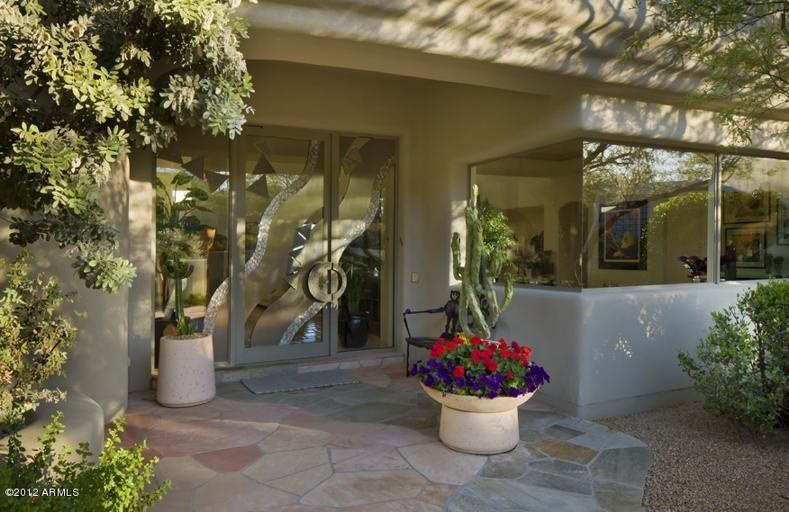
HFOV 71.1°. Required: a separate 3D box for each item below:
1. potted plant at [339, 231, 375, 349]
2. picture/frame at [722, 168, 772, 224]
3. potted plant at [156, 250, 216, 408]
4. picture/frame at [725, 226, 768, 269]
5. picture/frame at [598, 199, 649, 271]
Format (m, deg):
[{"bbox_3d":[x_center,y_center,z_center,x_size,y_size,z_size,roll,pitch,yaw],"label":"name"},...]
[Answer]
[{"bbox_3d":[-0.533,0.487,7.688,0.540,1.553,0.255,-3,9,-20],"label":"potted plant"},{"bbox_3d":[4.182,-0.715,6.594,0.635,0.681,0.030,1,2,-18],"label":"picture/frame"},{"bbox_3d":[-2.372,0.789,6.100,0.592,1.523,0.860,-5,10,-32],"label":"potted plant"},{"bbox_3d":[4.225,-0.095,6.646,0.027,0.486,0.471,3,-2,-33],"label":"picture/frame"},{"bbox_3d":[2.407,-0.242,5.863,0.702,1.028,0.043,1,3,-7],"label":"picture/frame"}]
